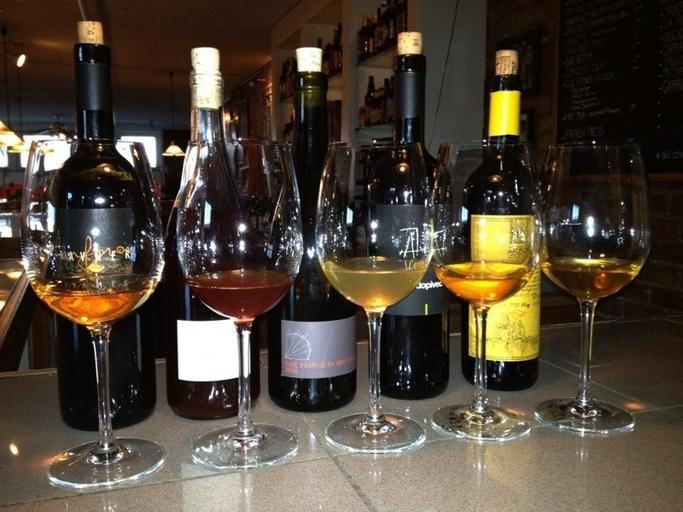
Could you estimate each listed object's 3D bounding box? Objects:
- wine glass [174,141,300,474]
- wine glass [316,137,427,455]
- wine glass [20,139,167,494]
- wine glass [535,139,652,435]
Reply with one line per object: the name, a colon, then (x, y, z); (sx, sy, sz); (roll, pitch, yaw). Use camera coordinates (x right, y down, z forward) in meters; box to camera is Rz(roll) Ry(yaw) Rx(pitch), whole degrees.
wine glass: (-0.121, 0.053, 0.792); (0.155, 0.383, 0.184); (-4, 14, -15)
wine glass: (0.042, 0.043, 0.845); (0.153, 0.378, 0.230); (2, 14, 7)
wine glass: (-0.295, 0.058, 0.760); (0.166, 0.388, 0.191); (-4, 14, -16)
wine glass: (0.357, 0.030, 0.905); (0.146, 0.379, 0.273); (5, 15, 20)
